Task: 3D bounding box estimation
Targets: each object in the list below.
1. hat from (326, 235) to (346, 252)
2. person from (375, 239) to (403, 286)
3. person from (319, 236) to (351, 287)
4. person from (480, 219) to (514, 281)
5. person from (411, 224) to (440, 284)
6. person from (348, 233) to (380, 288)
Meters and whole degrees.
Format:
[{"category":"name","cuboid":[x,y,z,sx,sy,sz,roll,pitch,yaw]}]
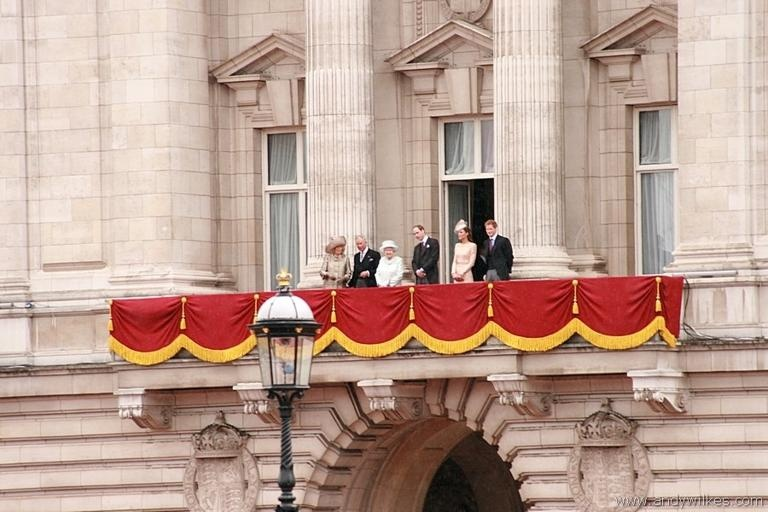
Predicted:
[{"category":"hat","cuboid":[-1.338,-0.260,69.974,0.497,0.189,0.426,-27,-4,-23]},{"category":"person","cuboid":[0.012,0.280,69.642,0.735,1.210,1.688,-2,-3,-1]},{"category":"person","cuboid":[-1.379,0.501,69.993,0.927,1.702,0.815,2,2,7]},{"category":"person","cuboid":[2.792,-0.052,68.514,0.790,1.553,1.178,-2,-3,1]},{"category":"person","cuboid":[0.978,0.050,69.505,0.645,1.520,0.955,-2,-3,0]},{"category":"person","cuboid":[-0.628,0.230,69.742,0.801,1.303,0.688,-2,-3,0]}]
